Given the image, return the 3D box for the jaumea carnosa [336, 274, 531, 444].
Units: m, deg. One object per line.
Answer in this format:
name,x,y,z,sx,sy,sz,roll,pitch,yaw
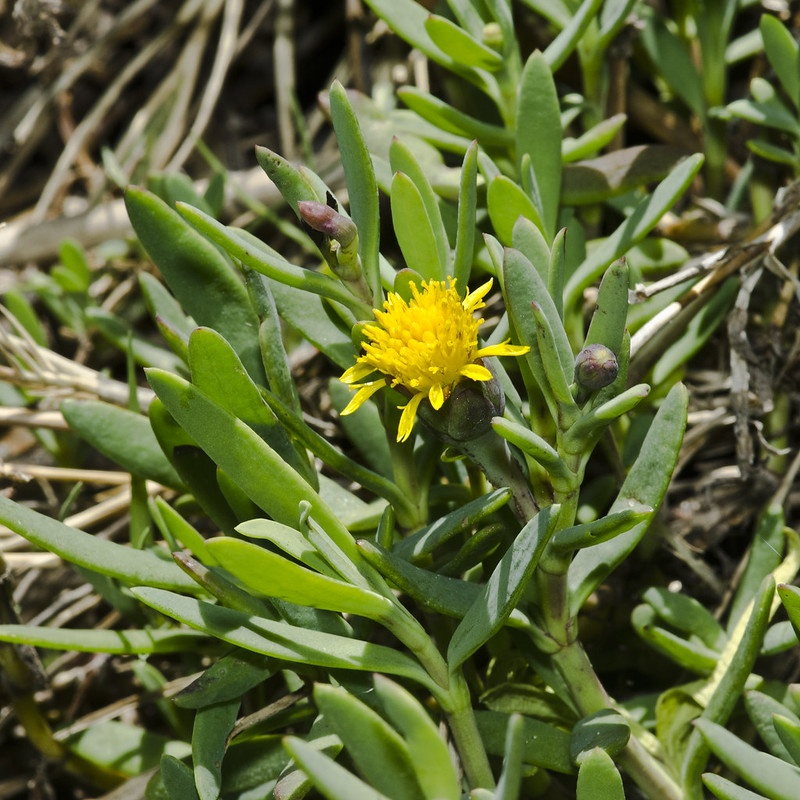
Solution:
jaumea carnosa,0.025,-0.042,0.765,0.154,0.171,0.082,-19,90,25
